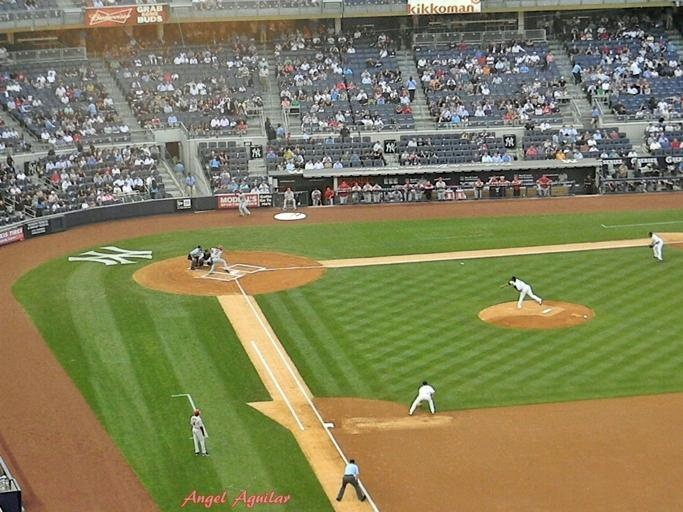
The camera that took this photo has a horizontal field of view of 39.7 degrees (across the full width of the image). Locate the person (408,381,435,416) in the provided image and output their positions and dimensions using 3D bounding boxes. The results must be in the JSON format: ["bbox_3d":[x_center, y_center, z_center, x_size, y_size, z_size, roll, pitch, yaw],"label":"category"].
[{"bbox_3d":[3.308,5.637,37.619,1.226,1.258,0.442,3,-1,-2],"label":"person"}]

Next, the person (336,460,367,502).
[{"bbox_3d":[0.369,7.974,33.285,1.326,1.698,0.851,9,43,10],"label":"person"}]

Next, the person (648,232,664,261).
[{"bbox_3d":[16.763,-0.653,49.975,0.641,1.394,1.909,-2,18,18],"label":"person"}]

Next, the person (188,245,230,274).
[{"bbox_3d":[-7.166,0.157,49.862,1.585,0.554,2.032,-1,-13,-3],"label":"person"}]
